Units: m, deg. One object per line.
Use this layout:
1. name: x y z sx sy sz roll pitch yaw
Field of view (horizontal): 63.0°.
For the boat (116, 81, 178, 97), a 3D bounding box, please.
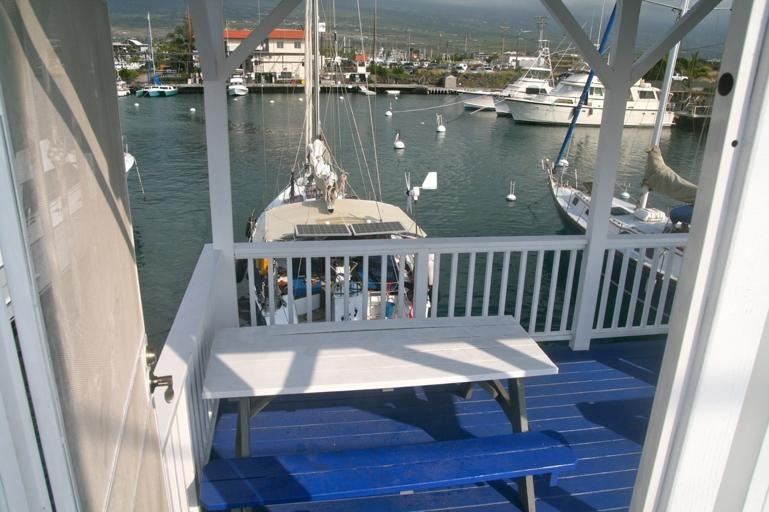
1. boat: -21.896 -15.395 58.049 5.073 1.128 4.945 -7 21 -20
